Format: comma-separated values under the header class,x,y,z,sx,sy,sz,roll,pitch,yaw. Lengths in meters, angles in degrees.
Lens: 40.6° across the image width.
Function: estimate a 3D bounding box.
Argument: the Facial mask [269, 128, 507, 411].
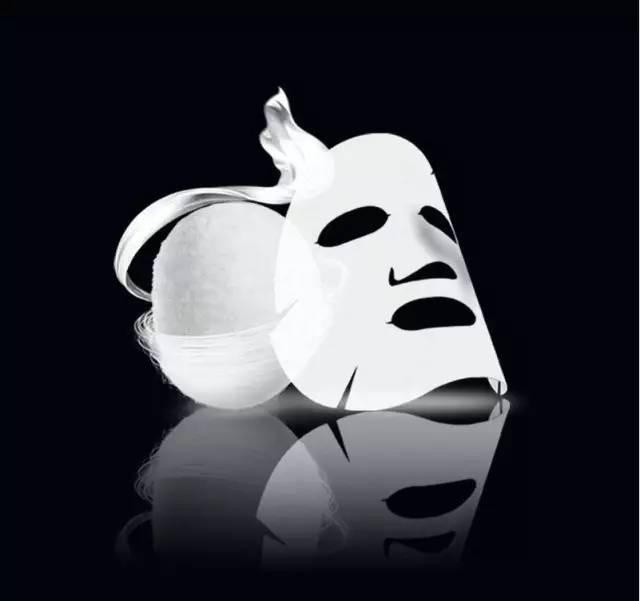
class,x,y,z,sx,sy,sz,roll,pitch,yaw
Facial mask,0.084,-0.033,1.526,0.373,0.542,0.238,2,-21,-35
